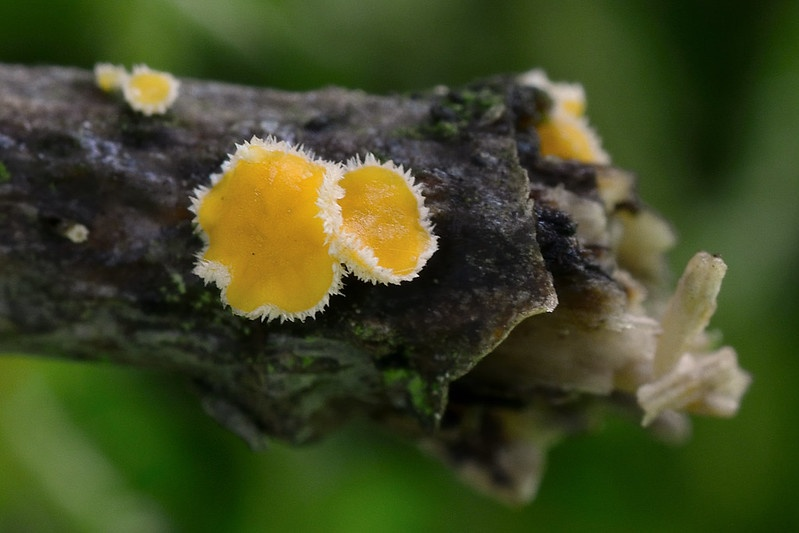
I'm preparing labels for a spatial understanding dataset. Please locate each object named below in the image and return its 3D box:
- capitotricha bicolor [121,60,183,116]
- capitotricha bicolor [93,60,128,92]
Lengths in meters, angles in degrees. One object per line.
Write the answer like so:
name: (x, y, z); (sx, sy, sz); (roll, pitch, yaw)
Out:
capitotricha bicolor: (-0.886, -0.637, 3.236); (0.193, 0.067, 0.179); (7, 73, -14)
capitotricha bicolor: (-1.045, -0.686, 3.257); (0.130, 0.060, 0.108); (11, 87, -2)
